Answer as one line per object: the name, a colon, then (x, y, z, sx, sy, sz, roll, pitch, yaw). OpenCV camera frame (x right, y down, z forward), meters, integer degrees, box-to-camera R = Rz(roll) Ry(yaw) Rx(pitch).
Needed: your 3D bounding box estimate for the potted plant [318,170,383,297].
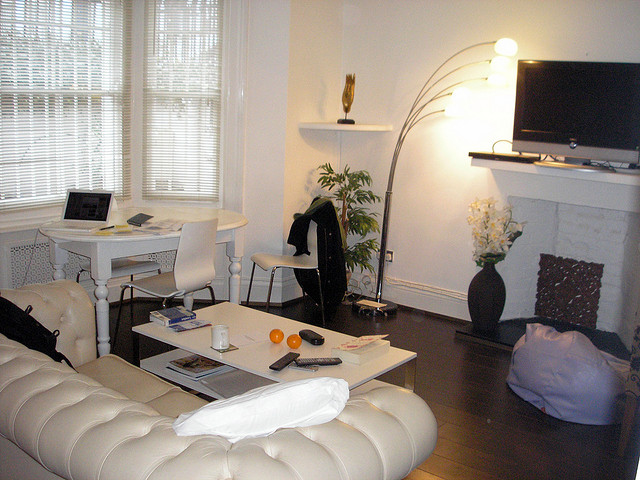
potted plant: (0.273, -0.077, 5.268, 0.686, 1.338, 0.676, 5, 14, 8)

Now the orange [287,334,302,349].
orange: (-0.146, 0.564, 2.781, 0.074, 0.070, 0.075, -23, -2, 4)

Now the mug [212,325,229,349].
mug: (-0.548, 0.538, 2.763, 0.089, 0.105, 0.119, 1, 1, 12)

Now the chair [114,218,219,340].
chair: (-1.170, 0.303, 3.901, 0.709, 0.995, 0.629, 10, 13, 33)

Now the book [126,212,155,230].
book: (-1.372, -0.146, 3.850, 0.122, 0.039, 0.169, 14, 15, 0)

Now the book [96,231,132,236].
book: (-1.432, -0.044, 3.513, 0.224, 0.007, 0.108, -3, 14, -21)

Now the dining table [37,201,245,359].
dining table: (-1.420, -0.003, 3.927, 1.234, 0.991, 1.503, 13, 16, 35)

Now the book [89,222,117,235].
book: (-1.565, -0.084, 3.612, 0.120, 0.074, 0.085, 8, -3, -40)

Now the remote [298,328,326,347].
remote: (-0.061, 0.573, 2.943, 0.069, 0.035, 0.156, -3, 8, -29)

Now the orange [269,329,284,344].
orange: (-0.249, 0.547, 2.851, 0.078, 0.075, 0.042, 22, -8, -14)

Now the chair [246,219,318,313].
chair: (-0.320, 0.214, 4.496, 0.581, 0.844, 0.515, -3, 12, -36)

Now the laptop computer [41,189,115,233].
laptop computer: (-1.739, -0.195, 3.635, 0.411, 0.232, 0.342, 5, 25, 12)

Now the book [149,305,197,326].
book: (-0.909, 0.470, 3.108, 0.146, 0.034, 0.150, 12, 15, 42)
